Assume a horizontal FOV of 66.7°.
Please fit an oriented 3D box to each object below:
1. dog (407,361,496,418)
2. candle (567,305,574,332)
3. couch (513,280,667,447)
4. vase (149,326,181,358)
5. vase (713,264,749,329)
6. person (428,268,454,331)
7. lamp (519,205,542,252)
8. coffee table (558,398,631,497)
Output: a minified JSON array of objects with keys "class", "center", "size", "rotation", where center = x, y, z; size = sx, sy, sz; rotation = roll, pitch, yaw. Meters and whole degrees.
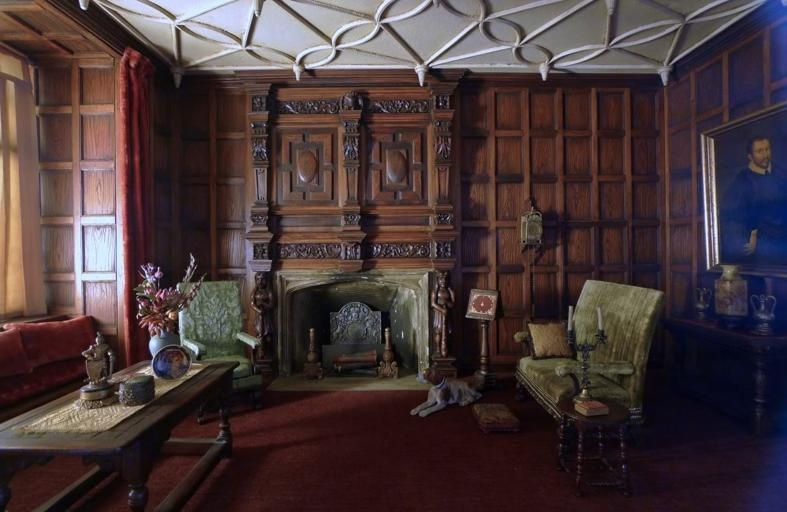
[{"class":"dog","center":[0.722,1.768,8.041],"size":[1.123,0.563,0.430],"rotation":[-3,-2,-38]},{"class":"candle","center":[2.011,0.719,6.841],"size":[0.037,0.292,0.167],"rotation":[-2,2,5]},{"class":"couch","center":[2.459,1.298,7.875],"size":[1.363,1.748,2.312],"rotation":[-4,2,0]},{"class":"vase","center":[-2.625,0.963,6.900],"size":[0.340,0.397,0.338],"rotation":[2,3,31]},{"class":"vase","center":[4.382,0.528,7.853],"size":[0.435,0.798,0.410],"rotation":[-4,-4,43]},{"class":"person","center":[0.703,0.654,8.723],"size":[0.330,0.864,0.230],"rotation":[-2,2,3]},{"class":"lamp","center":[2.034,-0.424,8.811],"size":[0.361,0.698,0.306],"rotation":[-2,2,5]},{"class":"coffee table","center":[2.247,2.096,6.772],"size":[0.802,0.972,0.777],"rotation":[-2,2,5]}]
